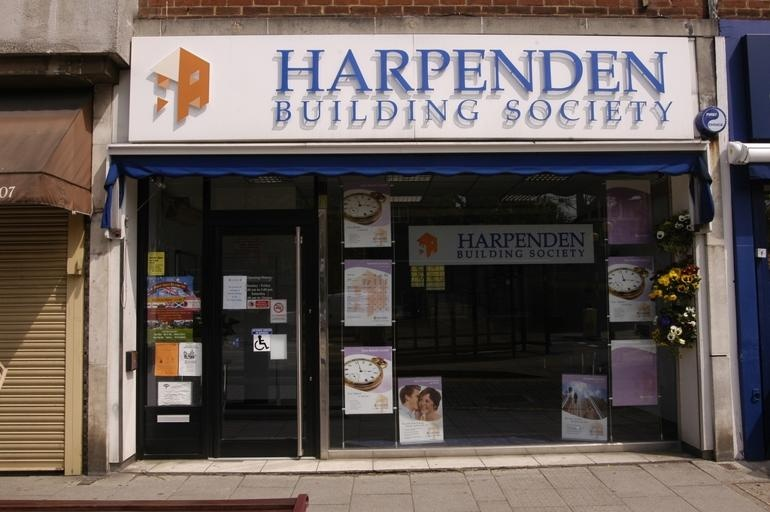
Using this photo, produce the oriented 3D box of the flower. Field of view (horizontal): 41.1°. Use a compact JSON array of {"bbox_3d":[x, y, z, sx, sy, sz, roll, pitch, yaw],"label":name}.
[{"bbox_3d":[4.146,0.345,14.710,0.751,1.921,0.409,-6,-7,31],"label":"flower"}]
